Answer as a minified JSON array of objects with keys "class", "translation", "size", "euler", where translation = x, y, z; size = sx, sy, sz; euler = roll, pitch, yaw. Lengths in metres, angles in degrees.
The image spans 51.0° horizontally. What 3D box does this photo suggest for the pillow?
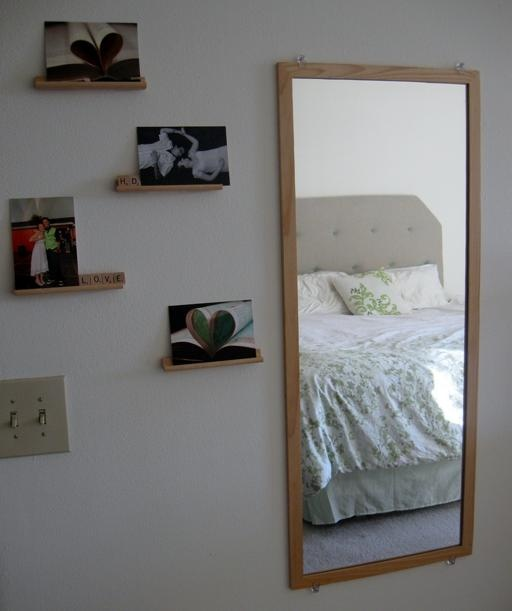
[{"class":"pillow","translation":[0.238,-0.021,1.134],"size":[0.251,0.111,0.044],"euler":[-3,-1,-14]}]
